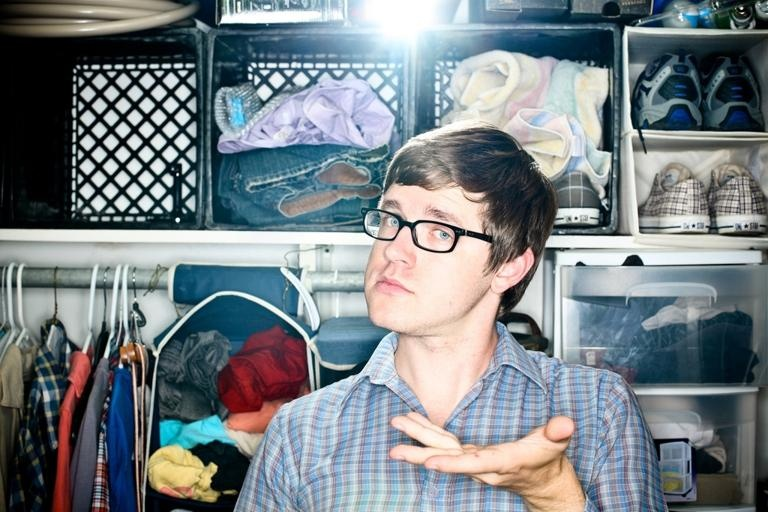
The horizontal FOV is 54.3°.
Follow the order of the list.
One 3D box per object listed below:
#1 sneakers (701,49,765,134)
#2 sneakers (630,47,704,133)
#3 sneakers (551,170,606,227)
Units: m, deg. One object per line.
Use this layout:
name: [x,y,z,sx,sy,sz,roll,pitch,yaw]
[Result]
sneakers: [1.101,-0.505,2.337,0.198,0.235,0.069,0,-7,-2]
sneakers: [0.883,-0.508,2.343,0.211,0.249,0.121,-2,-7,20]
sneakers: [0.595,-0.173,2.310,0.142,0.164,0.188,-1,-6,10]
